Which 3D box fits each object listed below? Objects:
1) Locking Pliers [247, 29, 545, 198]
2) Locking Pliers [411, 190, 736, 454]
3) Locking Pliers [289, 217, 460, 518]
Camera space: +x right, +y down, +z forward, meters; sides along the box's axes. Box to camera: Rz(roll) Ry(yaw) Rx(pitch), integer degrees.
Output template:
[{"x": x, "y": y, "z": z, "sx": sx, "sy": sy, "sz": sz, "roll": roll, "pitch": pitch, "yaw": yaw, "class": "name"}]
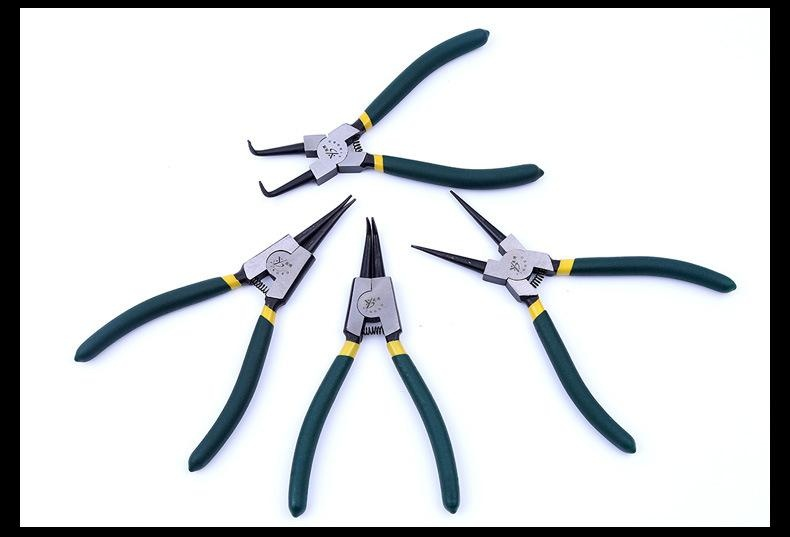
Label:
[{"x": -0.025, "y": -0.582, "z": 3.803, "sx": 1.234, "sy": 0.751, "sz": 0.439, "roll": -19, "pitch": 11, "yaw": 2, "class": "Locking Pliers"}, {"x": 0.737, "y": 0.138, "z": 3.544, "sx": 1.317, "sy": 0.810, "sz": 0.557, "roll": 25, "pitch": 9, "yaw": -6, "class": "Locking Pliers"}, {"x": -0.099, "y": 0.390, "z": 3.507, "sx": 0.697, "sy": 1.350, "sz": 0.092, "roll": 0, "pitch": -24, "yaw": -3, "class": "Locking Pliers"}]
